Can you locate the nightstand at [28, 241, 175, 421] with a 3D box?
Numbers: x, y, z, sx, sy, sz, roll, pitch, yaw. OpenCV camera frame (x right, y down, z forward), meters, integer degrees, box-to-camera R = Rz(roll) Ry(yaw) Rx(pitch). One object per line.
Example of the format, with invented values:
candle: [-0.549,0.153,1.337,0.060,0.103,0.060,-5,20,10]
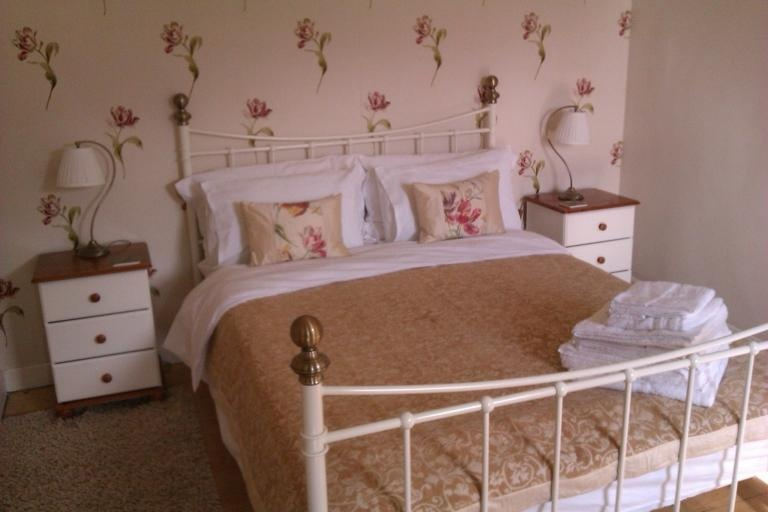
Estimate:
nightstand: [-1.488,0.328,3.508,0.833,1.124,0.820,-7,16,-23]

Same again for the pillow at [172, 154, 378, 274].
pillow: [-0.668,-0.297,3.153,1.147,0.651,0.302,-12,-1,-22]

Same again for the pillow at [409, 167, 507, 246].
pillow: [0.422,-0.281,3.433,0.479,0.285,0.143,-8,3,-21]

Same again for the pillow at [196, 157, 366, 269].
pillow: [-0.587,-0.227,3.250,0.631,0.410,0.138,-9,-22,-17]

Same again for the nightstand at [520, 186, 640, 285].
nightstand: [1.388,-0.016,4.182,0.646,0.788,0.538,-9,20,-22]

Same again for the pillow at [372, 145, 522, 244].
pillow: [0.335,-0.314,3.397,0.939,0.564,0.250,-10,0,-28]
